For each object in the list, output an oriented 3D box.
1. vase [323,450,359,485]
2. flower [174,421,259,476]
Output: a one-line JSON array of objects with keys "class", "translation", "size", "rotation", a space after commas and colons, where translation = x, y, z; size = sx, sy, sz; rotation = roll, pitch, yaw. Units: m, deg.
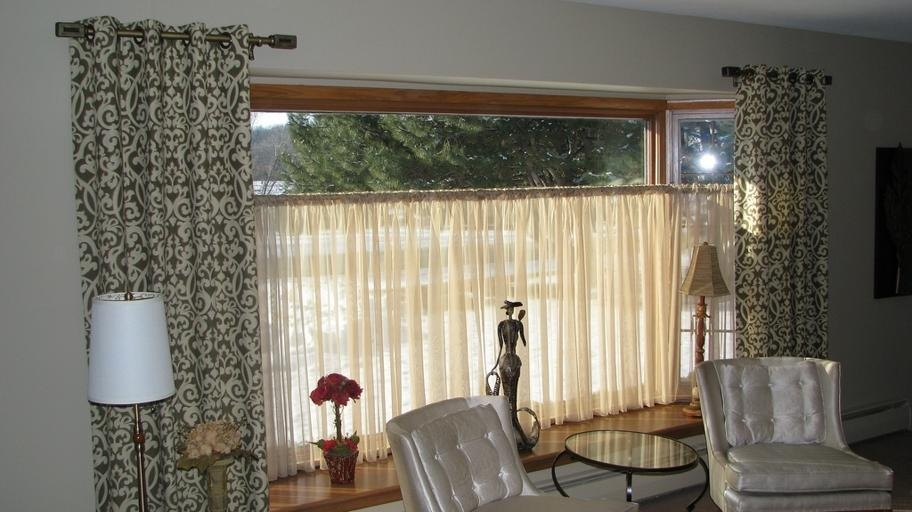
[{"class": "vase", "translation": [-0.883, 1.647, 5.867], "size": [0.259, 0.205, 0.250], "rotation": [1, -1, -23]}, {"class": "flower", "translation": [-1.672, 1.299, 5.202], "size": [0.398, 0.180, 0.404], "rotation": [-1, 0, 24]}]
